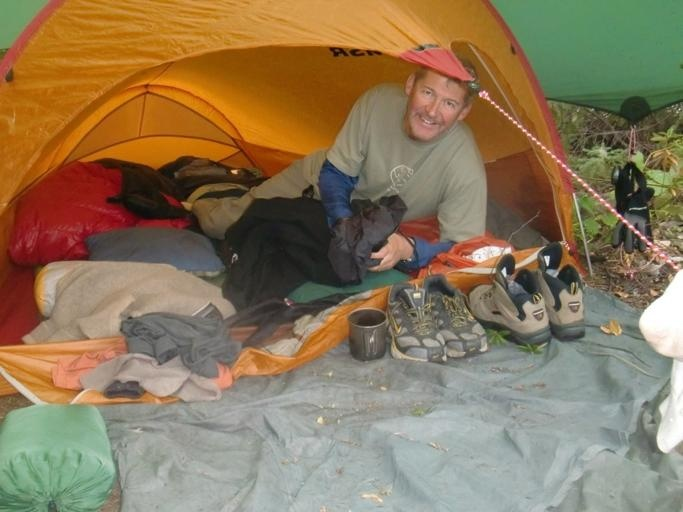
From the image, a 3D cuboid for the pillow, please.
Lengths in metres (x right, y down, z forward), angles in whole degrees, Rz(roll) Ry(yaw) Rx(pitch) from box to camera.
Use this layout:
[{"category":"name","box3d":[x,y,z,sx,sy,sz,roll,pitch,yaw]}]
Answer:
[{"category":"pillow","box3d":[-0.895,-0.035,2.988,0.448,0.107,0.337,3,22,-20]}]

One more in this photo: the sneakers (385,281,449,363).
[{"category":"sneakers","box3d":[0.337,0.288,2.780,0.270,0.245,0.605,1,20,-4]}]

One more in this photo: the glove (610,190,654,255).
[{"category":"glove","box3d":[1.414,-0.176,2.943,0.230,0.284,0.100,-1,18,22]}]

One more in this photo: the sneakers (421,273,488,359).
[{"category":"sneakers","box3d":[0.515,0.268,2.812,0.226,0.177,0.487,-13,29,-11]}]

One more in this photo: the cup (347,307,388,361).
[{"category":"cup","box3d":[0.121,0.349,2.696,0.174,0.207,0.202,-6,29,17]}]
